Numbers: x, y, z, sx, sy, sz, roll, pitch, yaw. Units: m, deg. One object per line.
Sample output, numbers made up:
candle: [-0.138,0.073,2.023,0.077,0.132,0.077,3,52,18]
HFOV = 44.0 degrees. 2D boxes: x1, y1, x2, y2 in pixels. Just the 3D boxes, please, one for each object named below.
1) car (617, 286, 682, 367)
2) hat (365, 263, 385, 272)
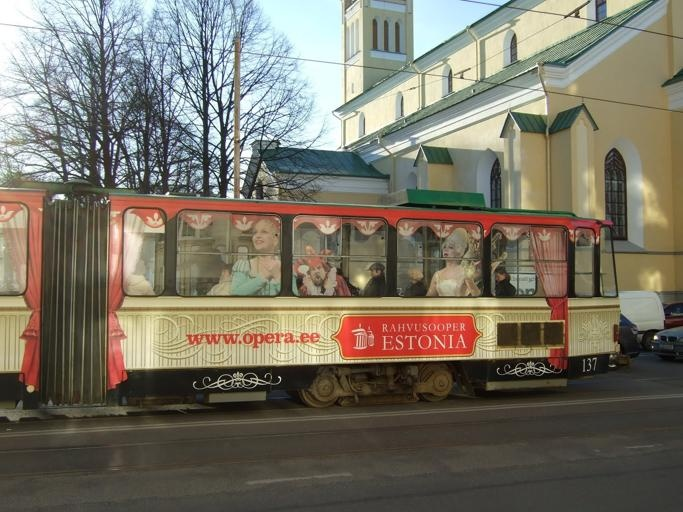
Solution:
car: [8.736,1.880,24.871,2.391,1.644,1.443,1,-5,-17]
hat: [0.676,0.227,15.938,0.217,0.140,0.161,13,-3,10]
